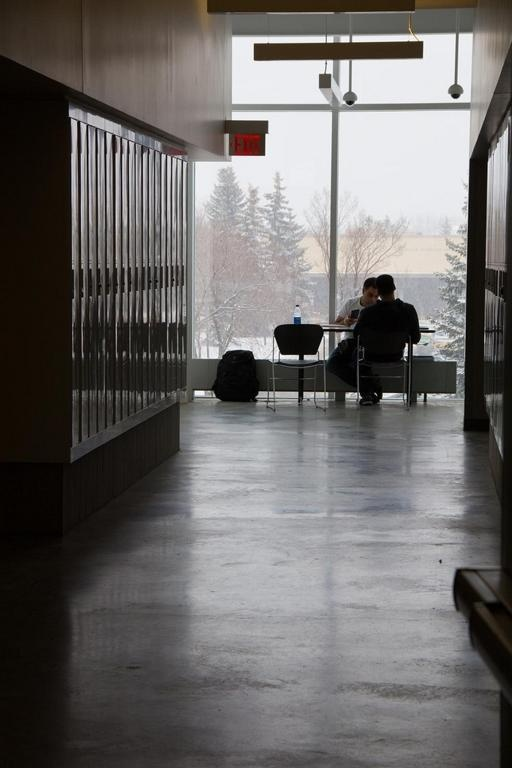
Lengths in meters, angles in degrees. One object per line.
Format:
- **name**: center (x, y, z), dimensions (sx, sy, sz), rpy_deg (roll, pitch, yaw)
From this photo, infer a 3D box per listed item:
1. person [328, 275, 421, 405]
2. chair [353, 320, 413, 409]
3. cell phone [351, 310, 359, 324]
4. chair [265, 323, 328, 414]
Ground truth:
- **person**: center (1.602, -0.591, 9.580), dimensions (0.847, 1.780, 1.260), rpy_deg (0, 2, -12)
- **chair**: center (1.651, -0.291, 9.639), dimensions (0.567, 1.648, 0.924), rpy_deg (0, 10, 5)
- **cell phone**: center (1.444, -0.990, 10.188), dimensions (0.121, 0.182, 0.029), rpy_deg (0, 1, -41)
- **chair**: center (0.591, -0.314, 9.892), dimensions (0.689, 1.943, 1.069), rpy_deg (0, 11, 1)
